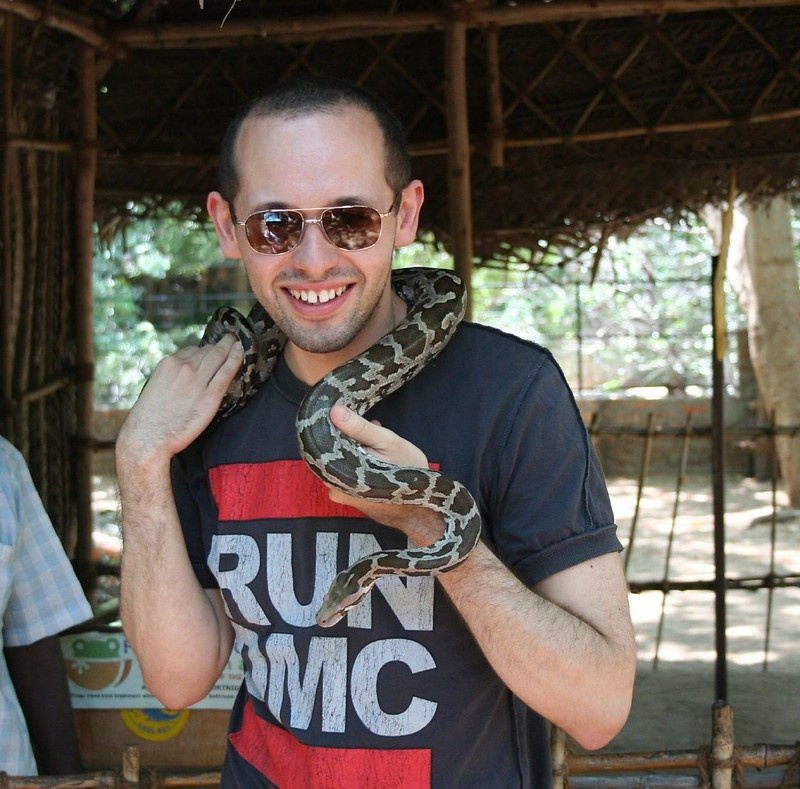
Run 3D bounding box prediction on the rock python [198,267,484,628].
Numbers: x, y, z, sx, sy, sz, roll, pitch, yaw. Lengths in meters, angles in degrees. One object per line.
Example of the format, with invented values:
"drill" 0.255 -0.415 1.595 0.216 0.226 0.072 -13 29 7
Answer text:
"rock python" -0.192 0.165 4.358 1.163 0.322 1.823 -9 42 -13
